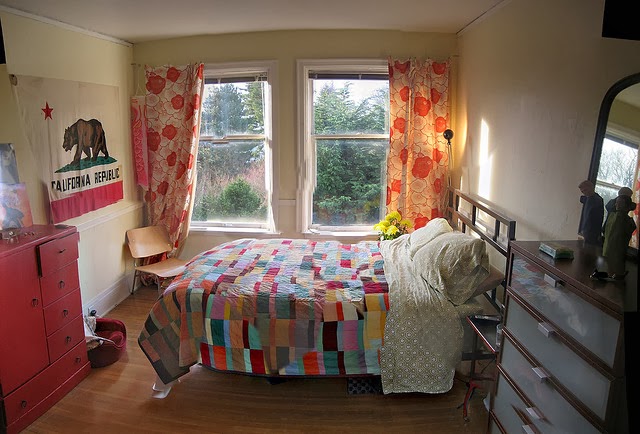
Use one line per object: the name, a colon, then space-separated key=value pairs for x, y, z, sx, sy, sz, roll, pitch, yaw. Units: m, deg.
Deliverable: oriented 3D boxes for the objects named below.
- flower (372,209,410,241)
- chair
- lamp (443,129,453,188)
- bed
flower: x=0.788 y=0.076 z=4.815 sx=0.336 sy=0.344 sz=0.328 roll=-4 pitch=7 yaw=-38
chair: x=-1.852 y=0.533 z=4.976 sx=0.569 sy=0.807 sz=0.629 roll=-11 pitch=22 yaw=-42
lamp: x=1.458 y=-0.647 z=4.927 sx=0.137 sy=0.675 sz=0.242 roll=4 pitch=15 yaw=16
bed: x=-0.010 y=0.556 z=3.768 sx=2.320 sy=0.969 sz=1.529 roll=3 pitch=9 yaw=7
